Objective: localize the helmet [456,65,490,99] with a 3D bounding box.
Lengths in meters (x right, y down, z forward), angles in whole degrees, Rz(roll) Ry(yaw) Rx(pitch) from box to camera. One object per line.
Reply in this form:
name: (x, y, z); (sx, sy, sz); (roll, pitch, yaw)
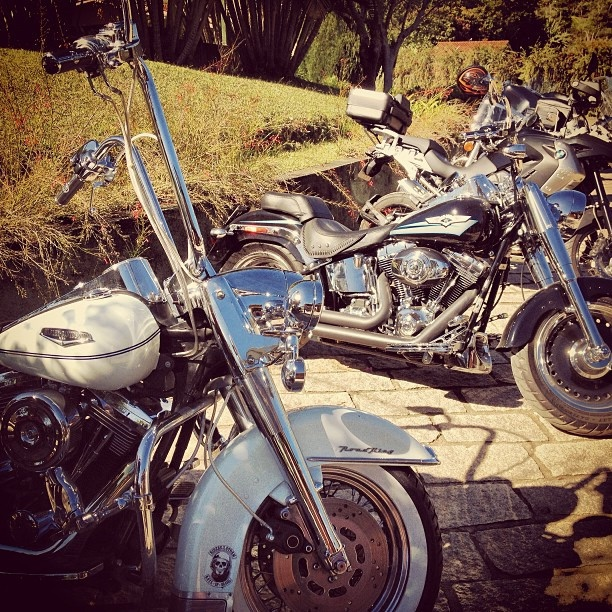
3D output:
helmet: (1.193, -1.593, 3.730); (0.206, 0.221, 0.444); (3, 27, 8)
